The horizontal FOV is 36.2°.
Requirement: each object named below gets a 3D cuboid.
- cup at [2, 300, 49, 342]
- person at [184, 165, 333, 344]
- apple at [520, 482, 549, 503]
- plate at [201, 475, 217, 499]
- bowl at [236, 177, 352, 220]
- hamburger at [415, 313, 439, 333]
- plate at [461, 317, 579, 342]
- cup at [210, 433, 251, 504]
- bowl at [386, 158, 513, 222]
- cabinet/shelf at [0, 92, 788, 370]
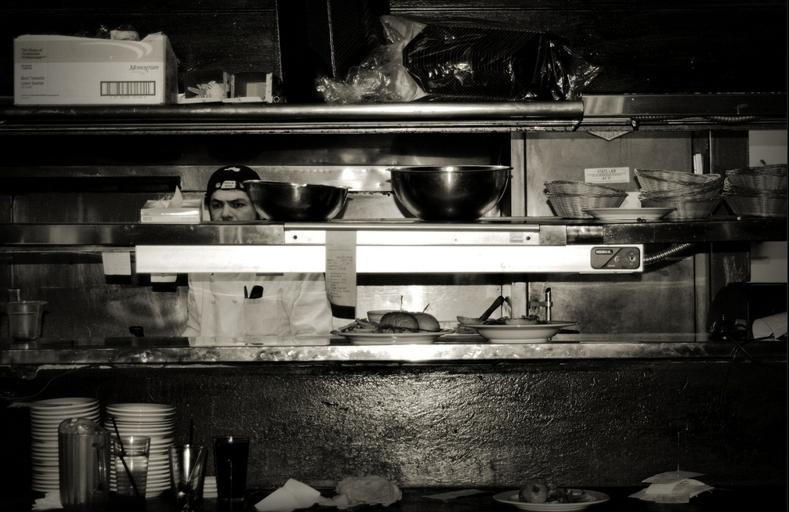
[{"bbox_3d":[-1.636,0.287,5.334,0.196,0.150,0.183,-1,-8,0],"label":"cup"},{"bbox_3d":[-0.665,-0.022,5.713,0.831,0.952,0.552,-4,-13,0],"label":"person"},{"bbox_3d":[0.598,1.003,5.165,0.094,0.097,0.086,-3,12,-10],"label":"apple"},{"bbox_3d":[-0.809,1.014,5.271,0.101,0.092,0.096,-2,-8,11],"label":"plate"},{"bbox_3d":[-0.429,-0.234,5.218,0.433,0.152,0.159,-2,-1,-6],"label":"bowl"},{"bbox_3d":[0.148,0.299,5.305,0.087,0.052,0.085,12,-14,33],"label":"hamburger"},{"bbox_3d":[0.532,0.327,5.322,0.463,0.099,0.291,-2,0,2],"label":"plate"},{"bbox_3d":[-0.700,0.911,5.162,0.141,0.233,0.159,-2,-1,-7],"label":"cup"},{"bbox_3d":[0.246,-0.257,5.340,0.521,0.205,0.514,2,-9,0],"label":"bowl"},{"bbox_3d":[-0.001,-0.125,5.854,4.129,1.069,1.459,-2,0,-3],"label":"cabinet/shelf"}]
